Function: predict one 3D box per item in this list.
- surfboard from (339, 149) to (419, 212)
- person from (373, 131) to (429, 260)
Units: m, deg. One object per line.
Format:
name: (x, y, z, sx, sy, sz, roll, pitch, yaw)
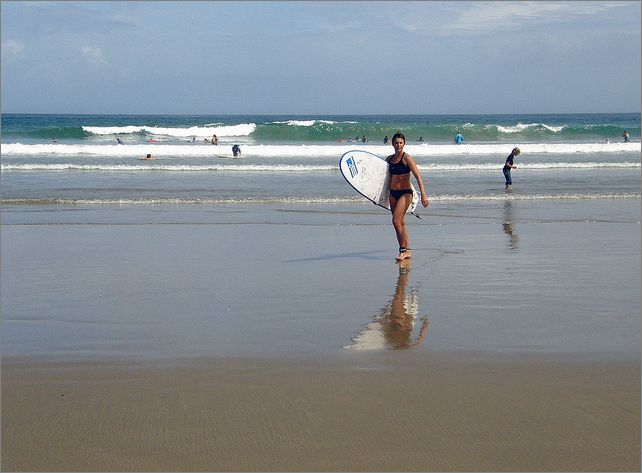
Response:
surfboard: (0.766, -0.800, 12.072, 1.539, 0.537, 0.217, 33, 14, 20)
person: (1.192, -0.587, 11.801, 0.556, 1.743, 1.038, -1, 11, 6)
